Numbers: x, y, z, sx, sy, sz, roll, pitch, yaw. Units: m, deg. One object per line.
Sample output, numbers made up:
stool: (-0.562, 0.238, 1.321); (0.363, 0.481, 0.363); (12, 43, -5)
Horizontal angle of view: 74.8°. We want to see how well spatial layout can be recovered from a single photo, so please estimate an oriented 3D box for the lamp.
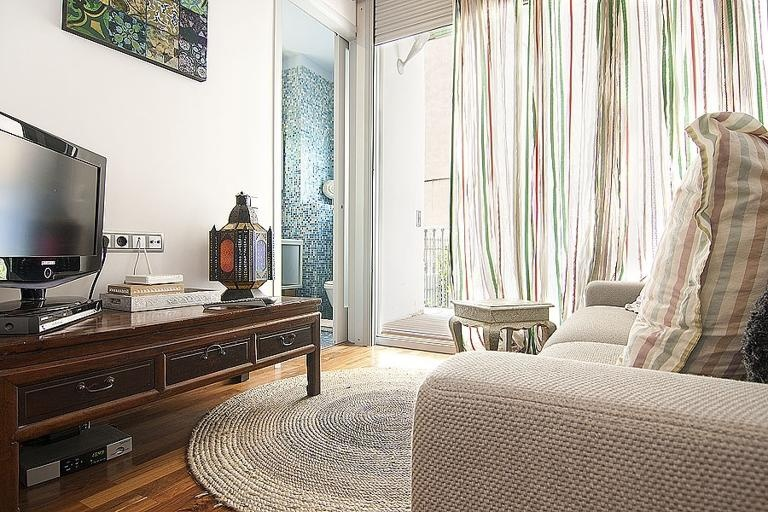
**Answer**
lamp: (-0.761, -0.065, 2.745); (0.355, 0.551, 0.306); (-5, 10, -30)
